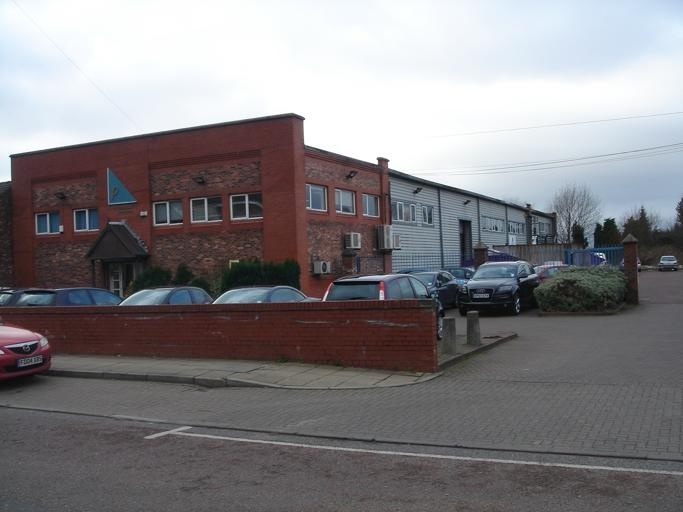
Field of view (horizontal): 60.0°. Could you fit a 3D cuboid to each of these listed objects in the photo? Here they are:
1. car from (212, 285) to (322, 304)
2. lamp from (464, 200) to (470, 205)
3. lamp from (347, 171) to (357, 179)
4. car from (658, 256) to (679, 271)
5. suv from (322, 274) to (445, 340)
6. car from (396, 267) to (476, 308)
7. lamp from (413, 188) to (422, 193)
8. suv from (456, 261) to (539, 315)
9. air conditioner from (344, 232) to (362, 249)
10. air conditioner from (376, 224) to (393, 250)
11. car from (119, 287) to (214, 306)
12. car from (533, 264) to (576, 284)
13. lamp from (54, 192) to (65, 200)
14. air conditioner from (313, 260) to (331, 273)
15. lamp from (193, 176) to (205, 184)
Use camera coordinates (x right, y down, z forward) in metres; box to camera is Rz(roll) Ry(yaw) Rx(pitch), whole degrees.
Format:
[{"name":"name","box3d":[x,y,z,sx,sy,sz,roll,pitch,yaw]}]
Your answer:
[{"name":"car","box3d":[-1.999,1.043,15.473,2.226,0.643,1.003,2,-2,5]},{"name":"lamp","box3d":[10.465,-4.443,49.208,0.577,0.406,0.197,-4,13,-42]},{"name":"lamp","box3d":[0.551,-4.444,32.628,0.329,0.474,1.055,-1,2,18]},{"name":"car","box3d":[33.944,0.843,61.570,1.590,1.396,2.621,-1,2,24]},{"name":"suv","box3d":[1.111,1.157,14.875,1.609,0.988,2.902,-2,0,31]},{"name":"car","box3d":[4.175,1.365,25.491,1.597,1.135,3.546,-3,-5,35]},{"name":"lamp","box3d":[5.092,-4.434,40.145,0.502,0.188,0.670,-7,-4,4]},{"name":"suv","box3d":[6.132,1.266,23.166,1.941,1.958,3.656,0,2,34]},{"name":"air conditioner","box3d":[0.562,-0.747,31.866,0.796,1.036,1.477,-2,-3,27]},{"name":"air conditioner","box3d":[2.602,-1.094,35.007,0.976,1.477,0.569,-3,3,-33]},{"name":"car","box3d":[-4.575,1.123,15.989,0.938,0.671,2.081,-5,-10,41]},{"name":"car","box3d":[9.481,0.774,26.770,1.950,0.773,1.040,1,-3,-10]},{"name":"lamp","box3d":[-15.351,-3.254,32.304,0.435,0.379,0.392,6,-1,13]},{"name":"air conditioner","box3d":[-0.963,0.564,28.557,0.592,0.559,0.835,-2,-4,18]},{"name":"lamp","box3d":[-6.918,-3.655,28.787,0.590,0.399,0.347,-1,2,18]}]
